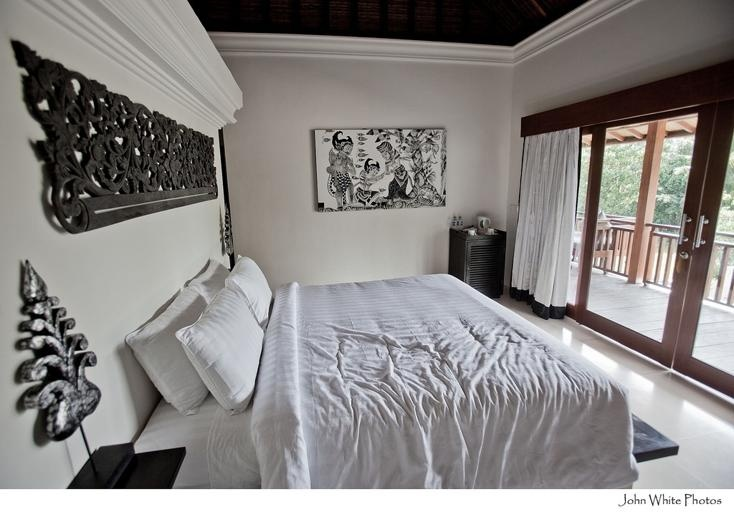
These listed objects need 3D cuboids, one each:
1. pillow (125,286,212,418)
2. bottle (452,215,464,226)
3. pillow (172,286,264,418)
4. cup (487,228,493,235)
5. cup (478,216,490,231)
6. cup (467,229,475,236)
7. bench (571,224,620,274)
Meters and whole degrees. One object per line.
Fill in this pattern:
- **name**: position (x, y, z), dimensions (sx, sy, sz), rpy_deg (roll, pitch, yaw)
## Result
- **pillow**: position (-1.063, 0.544, 2.446), dimensions (0.361, 0.549, 0.461), rpy_deg (3, 10, -3)
- **bottle**: position (1.143, -0.444, 5.368), dimensions (0.119, 0.214, 0.128), rpy_deg (-5, 16, 1)
- **pillow**: position (-0.850, 0.536, 2.709), dimensions (0.372, 0.421, 1.042), rpy_deg (2, 11, -6)
- **cup**: position (1.501, -0.298, 5.209), dimensions (0.076, 0.062, 0.061), rpy_deg (-1, 6, -9)
- **cup**: position (1.451, -0.395, 5.322), dimensions (0.167, 0.178, 0.131), rpy_deg (5, 10, 25)
- **cup**: position (1.251, -0.281, 5.101), dimensions (0.067, 0.054, 0.071), rpy_deg (0, 3, 0)
- **bench**: position (2.335, -0.134, 4.473), dimensions (0.372, 0.639, 0.480), rpy_deg (1, 12, 5)
